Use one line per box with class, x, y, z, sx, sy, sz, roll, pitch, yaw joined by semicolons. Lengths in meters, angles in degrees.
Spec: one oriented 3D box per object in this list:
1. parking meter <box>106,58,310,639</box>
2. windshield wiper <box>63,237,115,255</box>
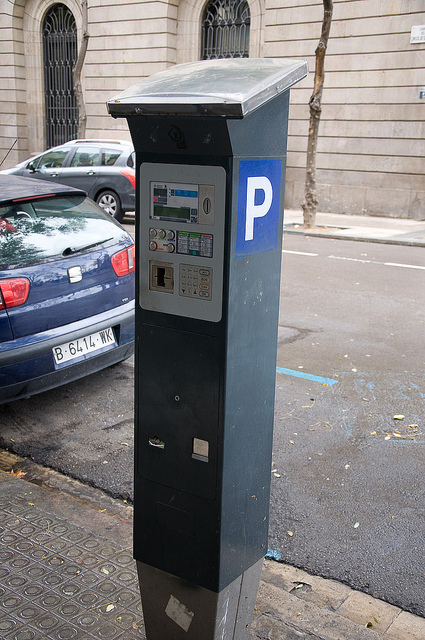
parking meter;-0.066;0.146;1.532;0.422;1.731;0.493;7;8;24
windshield wiper;-0.932;-0.545;4.098;0.037;0.064;0.448;12;25;29
